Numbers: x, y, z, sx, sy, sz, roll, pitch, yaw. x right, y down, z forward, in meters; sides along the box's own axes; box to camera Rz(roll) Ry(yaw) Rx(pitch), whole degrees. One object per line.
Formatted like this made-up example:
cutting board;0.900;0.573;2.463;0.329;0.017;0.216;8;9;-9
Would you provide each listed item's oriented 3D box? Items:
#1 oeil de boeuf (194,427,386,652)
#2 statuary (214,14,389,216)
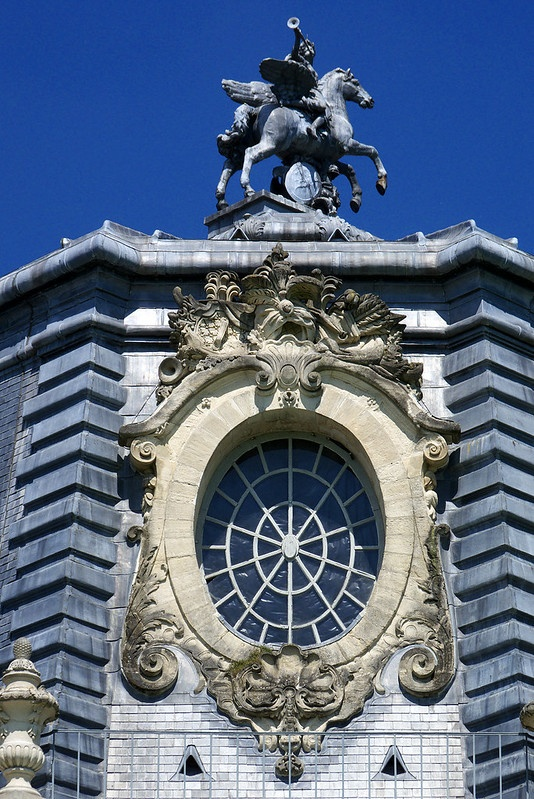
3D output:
oeil de boeuf;0.298;2.164;38.539;3.277;4.723;0.244;-2;-40;4
statuary;0.575;-4.744;45.052;2.696;3.495;1.459;7;-22;-24
